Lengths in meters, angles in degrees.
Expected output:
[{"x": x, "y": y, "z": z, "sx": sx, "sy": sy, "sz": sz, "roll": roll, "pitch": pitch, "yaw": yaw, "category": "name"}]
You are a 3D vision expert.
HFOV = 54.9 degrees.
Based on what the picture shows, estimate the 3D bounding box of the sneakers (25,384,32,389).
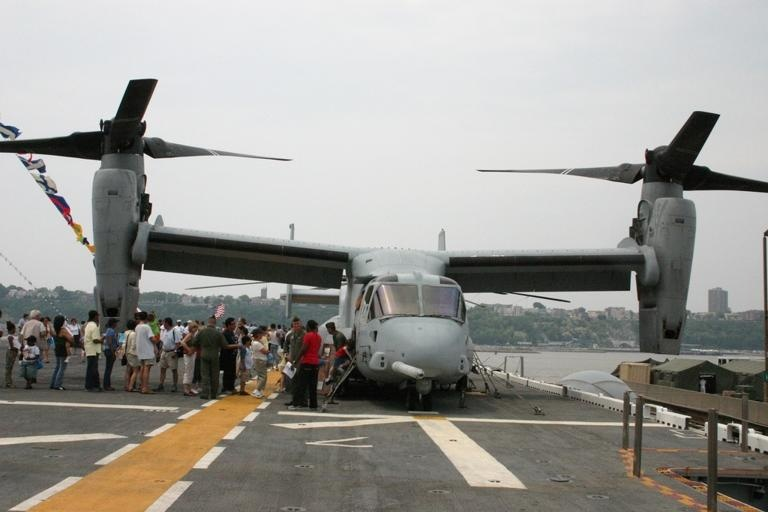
[{"x": -10.094, "y": 3.697, "z": 20.939, "sx": 0.075, "sy": 0.148, "sz": 0.146, "roll": 3, "pitch": 22, "yaw": -2, "category": "sneakers"}]

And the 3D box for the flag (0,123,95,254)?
[{"x": -10.105, "y": -2.761, "z": 22.662, "sx": 0.925, "sy": 6.511, "sz": 1.176, "roll": -21, "pitch": -32, "yaw": -21, "category": "flag"}]
